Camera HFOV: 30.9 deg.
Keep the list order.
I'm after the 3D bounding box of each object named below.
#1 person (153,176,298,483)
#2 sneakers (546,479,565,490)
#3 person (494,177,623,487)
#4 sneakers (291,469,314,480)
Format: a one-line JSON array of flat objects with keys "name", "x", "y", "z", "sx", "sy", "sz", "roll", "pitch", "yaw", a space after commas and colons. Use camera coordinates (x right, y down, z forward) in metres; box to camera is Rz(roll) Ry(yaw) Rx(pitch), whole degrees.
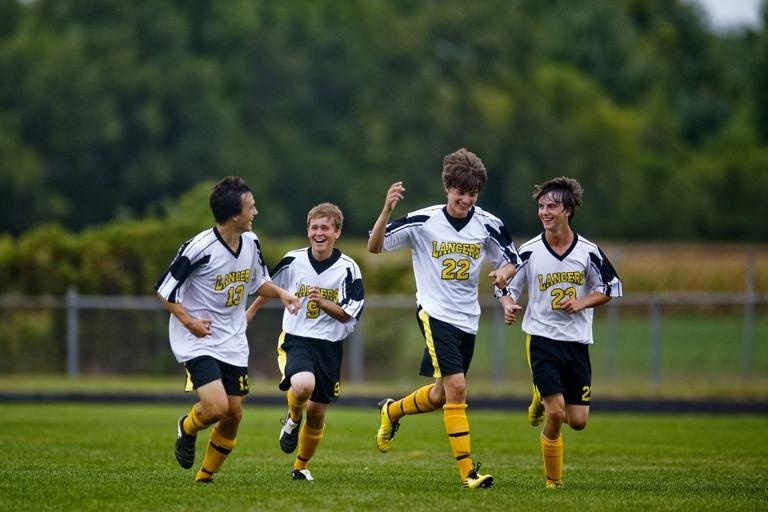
[{"name": "person", "x": -2.403, "y": 1.080, "z": 19.893, "sx": 1.380, "sy": 4.256, "sz": 0.467, "roll": 0, "pitch": -2, "yaw": -3}, {"name": "sneakers", "x": 2.438, "y": 3.244, "z": 19.837, "sx": 0.249, "sy": 0.100, "sz": 0.252, "roll": -1, "pitch": -3, "yaw": 5}, {"name": "person", "x": 2.535, "y": 1.103, "z": 20.022, "sx": 1.502, "sy": 4.378, "sz": 0.570, "roll": -1, "pitch": -2, "yaw": 10}, {"name": "sneakers", "x": -1.180, "y": 3.155, "z": 20.068, "sx": 0.272, "sy": 0.129, "sz": 0.146, "roll": 1, "pitch": -1, "yaw": -21}]
